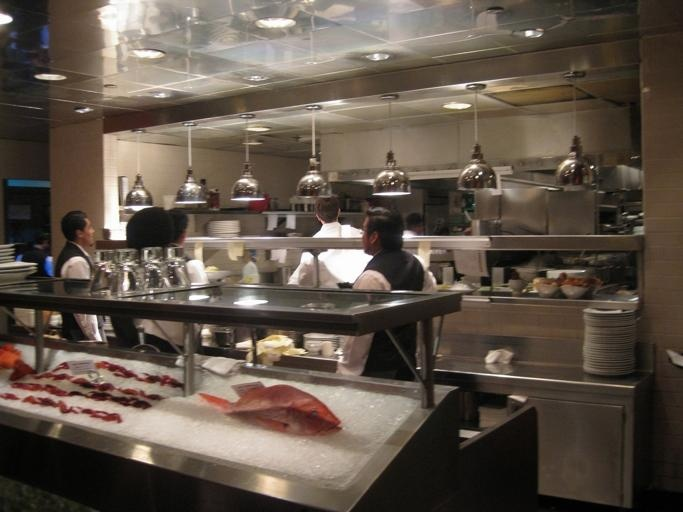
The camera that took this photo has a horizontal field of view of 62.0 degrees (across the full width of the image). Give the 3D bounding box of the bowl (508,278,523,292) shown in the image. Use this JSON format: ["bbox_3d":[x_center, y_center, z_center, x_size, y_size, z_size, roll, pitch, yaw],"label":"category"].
[{"bbox_3d":[1.289,0.217,4.230,0.132,0.064,0.105,0,2,25],"label":"bowl"}]

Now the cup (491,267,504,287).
[{"bbox_3d":[1.202,0.154,4.413,0.093,0.146,0.065,-2,12,7],"label":"cup"}]

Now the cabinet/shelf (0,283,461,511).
[{"bbox_3d":[-0.649,0.389,2.298,1.883,0.528,0.724,3,10,30],"label":"cabinet/shelf"}]

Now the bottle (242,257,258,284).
[{"bbox_3d":[-0.750,0.118,4.651,0.144,0.185,0.233,-5,9,-7],"label":"bottle"}]

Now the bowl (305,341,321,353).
[{"bbox_3d":[-0.201,0.620,3.909,0.129,0.053,0.089,1,-1,12],"label":"bowl"}]

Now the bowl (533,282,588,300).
[{"bbox_3d":[1.530,0.239,3.988,0.308,0.105,0.121,5,12,42],"label":"bowl"}]

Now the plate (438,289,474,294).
[{"bbox_3d":[0.731,0.217,3.589,0.208,0.020,0.207,-3,-3,44],"label":"plate"}]

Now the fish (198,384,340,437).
[{"bbox_3d":[-0.275,0.597,2.224,0.667,0.142,0.146,0,-3,28],"label":"fish"}]
